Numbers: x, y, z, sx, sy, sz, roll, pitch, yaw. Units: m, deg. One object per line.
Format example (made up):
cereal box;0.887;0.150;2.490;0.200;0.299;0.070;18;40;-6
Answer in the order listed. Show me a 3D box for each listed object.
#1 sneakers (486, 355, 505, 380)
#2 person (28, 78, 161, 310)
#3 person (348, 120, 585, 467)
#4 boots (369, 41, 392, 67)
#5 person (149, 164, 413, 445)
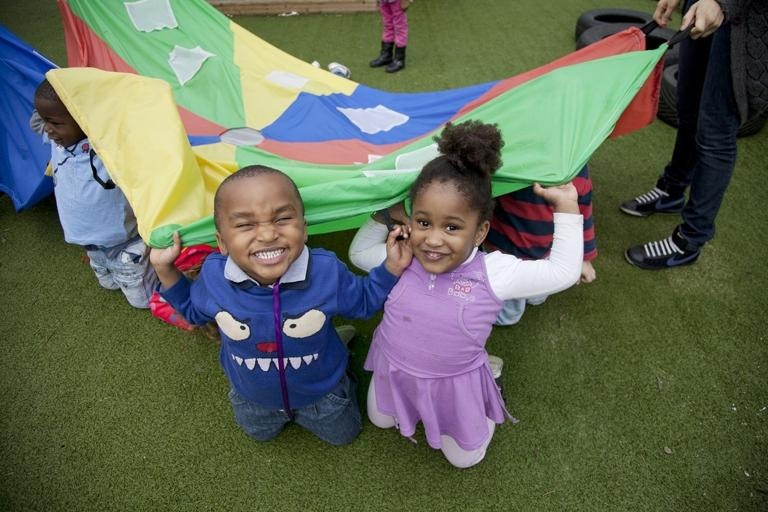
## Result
sneakers;0.607;0.601;3.679;0.096;0.043;0.128;17;31;29
person;-1.579;-0.331;3.745;0.435;1.384;0.748;-29;46;-27
person;0.360;0.241;3.426;1.149;1.728;0.757;11;32;18
boots;0.009;-1.710;5.766;0.264;0.262;0.127;3;56;1
person;-0.490;0.246;3.375;1.093;1.433;0.630;-9;34;-10
